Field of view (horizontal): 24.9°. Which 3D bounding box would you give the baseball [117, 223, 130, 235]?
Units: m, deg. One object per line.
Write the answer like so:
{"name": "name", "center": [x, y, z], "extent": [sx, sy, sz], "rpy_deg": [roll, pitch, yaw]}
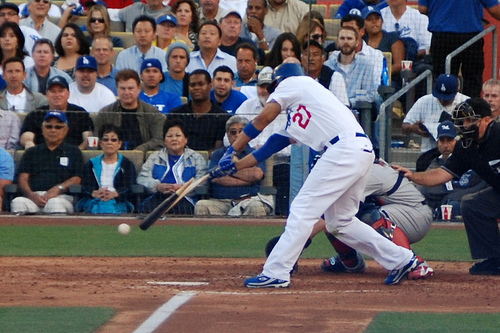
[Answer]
{"name": "baseball", "center": [-2.058, 1.018, 18.599], "extent": [0.168, 0.219, 0.249], "rpy_deg": [-2, 14, -9]}

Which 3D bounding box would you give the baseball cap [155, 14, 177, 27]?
{"name": "baseball cap", "center": [-1.588, -2.790, 21.689], "extent": [0.413, 0.262, 0.482], "rpy_deg": [-1, 14, -5]}

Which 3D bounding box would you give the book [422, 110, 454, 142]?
{"name": "book", "center": [3.265, -0.712, 19.847], "extent": [0.298, 0.556, 0.421], "rpy_deg": [32, -2, -37]}

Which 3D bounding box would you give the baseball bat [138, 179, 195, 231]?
{"name": "baseball bat", "center": [-1.399, 0.619, 18.741], "extent": [0.169, 1.190, 0.136], "rpy_deg": [45, -16, 19]}

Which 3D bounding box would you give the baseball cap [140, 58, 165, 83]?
{"name": "baseball cap", "center": [-1.747, -1.765, 20.335], "extent": [0.288, 0.296, 0.319], "rpy_deg": [2, 3, 17]}

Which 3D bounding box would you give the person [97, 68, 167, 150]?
{"name": "person", "center": [-2.136, -0.954, 19.827], "extent": [1.195, 1.454, 1.038], "rpy_deg": [9, 22, 19]}

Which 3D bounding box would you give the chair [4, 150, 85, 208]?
{"name": "chair", "center": [-3.548, 0.200, 19.853], "extent": [1.096, 1.360, 1.082], "rpy_deg": [1, -5, -6]}

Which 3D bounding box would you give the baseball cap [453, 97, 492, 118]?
{"name": "baseball cap", "center": [3.293, -0.848, 16.633], "extent": [0.443, 0.215, 0.279], "rpy_deg": [1, 3, -5]}

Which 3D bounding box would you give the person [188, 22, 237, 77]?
{"name": "person", "center": [-0.748, -2.164, 21.325], "extent": [1.224, 1.061, 0.565], "rpy_deg": [1, -3, 13]}

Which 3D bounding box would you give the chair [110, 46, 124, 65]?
{"name": "chair", "center": [-2.536, -2.125, 21.696], "extent": [0.291, 0.333, 0.263], "rpy_deg": [1, 4, 18]}

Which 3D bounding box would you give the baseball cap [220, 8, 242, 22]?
{"name": "baseball cap", "center": [-0.345, -2.898, 21.604], "extent": [0.375, 0.185, 0.491], "rpy_deg": [-1, 14, -3]}

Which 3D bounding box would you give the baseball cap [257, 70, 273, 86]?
{"name": "baseball cap", "center": [0.281, -1.531, 19.596], "extent": [0.303, 0.214, 0.415], "rpy_deg": [1, 3, -2]}

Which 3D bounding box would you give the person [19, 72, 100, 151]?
{"name": "person", "center": [-3.303, -0.945, 19.837], "extent": [1.153, 1.241, 1.519], "rpy_deg": [-3, 8, -4]}

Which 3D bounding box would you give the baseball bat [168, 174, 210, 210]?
{"name": "baseball bat", "center": [-0.987, 0.391, 18.653], "extent": [0.989, 0.141, 0.137], "rpy_deg": [-36, -32, 31]}

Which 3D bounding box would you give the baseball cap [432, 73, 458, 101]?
{"name": "baseball cap", "center": [3.413, -1.410, 19.796], "extent": [0.446, 0.293, 0.590], "rpy_deg": [8, 45, 19]}

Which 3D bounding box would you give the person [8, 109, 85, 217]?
{"name": "person", "center": [-3.441, -0.048, 19.446], "extent": [1.243, 1.744, 0.513], "rpy_deg": [-2, 14, -8]}

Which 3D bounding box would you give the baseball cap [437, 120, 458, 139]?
{"name": "baseball cap", "center": [3.340, -0.599, 19.230], "extent": [0.288, 0.303, 0.445], "rpy_deg": [-2, 14, -9]}

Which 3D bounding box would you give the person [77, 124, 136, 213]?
{"name": "person", "center": [-2.433, 0.034, 19.466], "extent": [0.974, 1.493, 0.354], "rpy_deg": [-1, 14, -6]}

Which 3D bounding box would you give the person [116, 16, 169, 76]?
{"name": "person", "center": [-1.894, -2.254, 21.318], "extent": [1.314, 1.092, 0.568], "rpy_deg": [3, 0, 21]}

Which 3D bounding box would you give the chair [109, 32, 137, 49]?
{"name": "chair", "center": [-2.462, -2.481, 22.351], "extent": [0.394, 0.453, 0.344], "rpy_deg": [2, 7, 18]}
